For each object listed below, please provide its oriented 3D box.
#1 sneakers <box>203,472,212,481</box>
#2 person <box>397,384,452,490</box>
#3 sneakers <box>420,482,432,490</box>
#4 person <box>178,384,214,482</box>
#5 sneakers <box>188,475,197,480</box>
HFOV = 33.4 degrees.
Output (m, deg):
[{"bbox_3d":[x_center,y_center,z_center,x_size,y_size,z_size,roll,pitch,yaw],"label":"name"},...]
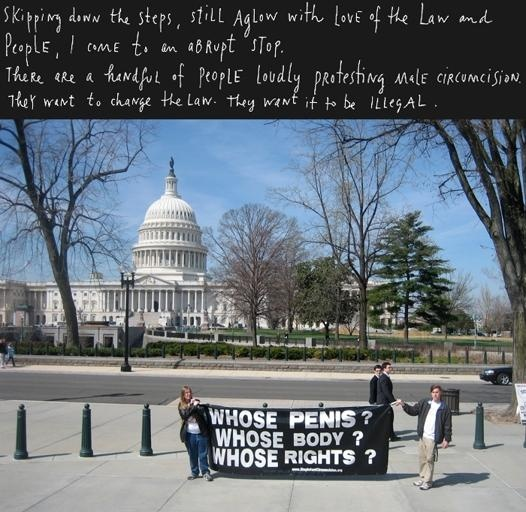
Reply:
[{"bbox_3d":[-0.928,3.732,14.861,0.137,0.138,0.242,-1,-6,-24],"label":"sneakers"},{"bbox_3d":[2.710,2.996,14.554,0.840,1.678,0.670,-5,-5,30],"label":"person"},{"bbox_3d":[2.654,3.762,14.347,0.195,0.104,0.085,4,-12,-4],"label":"sneakers"},{"bbox_3d":[-1.158,3.019,14.939,0.497,1.580,0.375,-2,-4,-8],"label":"person"},{"bbox_3d":[-1.199,3.754,14.885,0.152,0.064,0.159,-3,-6,-1],"label":"sneakers"}]
